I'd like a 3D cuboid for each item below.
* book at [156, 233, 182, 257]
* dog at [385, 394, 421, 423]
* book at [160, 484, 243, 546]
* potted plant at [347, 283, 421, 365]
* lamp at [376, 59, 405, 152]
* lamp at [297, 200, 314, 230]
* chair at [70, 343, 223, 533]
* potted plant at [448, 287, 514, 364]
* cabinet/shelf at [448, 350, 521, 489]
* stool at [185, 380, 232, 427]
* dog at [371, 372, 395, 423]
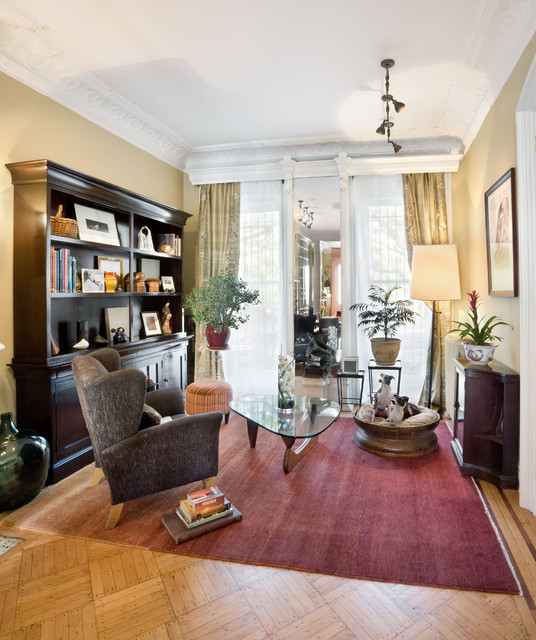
[{"bbox_3d":[-1.028,-0.799,4.787,0.174,0.310,0.321,5,6,31],"label":"book"},{"bbox_3d":[1.108,0.713,3.622,0.144,0.243,0.400,-2,-6,28],"label":"dog"},{"bbox_3d":[-0.359,1.052,2.440,0.297,0.099,0.226,-9,14,-35],"label":"book"},{"bbox_3d":[1.256,0.043,4.988,0.795,0.990,0.785,0,0,7],"label":"potted plant"},{"bbox_3d":[0.952,-1.700,3.560,0.245,0.586,0.120,6,42,25],"label":"lamp"},{"bbox_3d":[0.420,-1.188,5.096,0.223,0.305,0.090,0,-2,3],"label":"lamp"},{"bbox_3d":[-0.719,0.629,2.755,0.837,0.891,0.881,-2,9,3],"label":"chair"},{"bbox_3d":[1.521,0.074,3.281,0.445,0.492,0.450,0,-3,-17],"label":"potted plant"},{"bbox_3d":[1.477,0.684,3.052,0.322,0.744,0.865,1,3,16],"label":"cabinet/shelf"},{"bbox_3d":[-0.469,0.766,4.145,0.410,0.330,0.414,-6,-3,0],"label":"stool"},{"bbox_3d":[0.967,0.663,3.831,0.171,0.366,0.526,7,-13,8],"label":"dog"}]
